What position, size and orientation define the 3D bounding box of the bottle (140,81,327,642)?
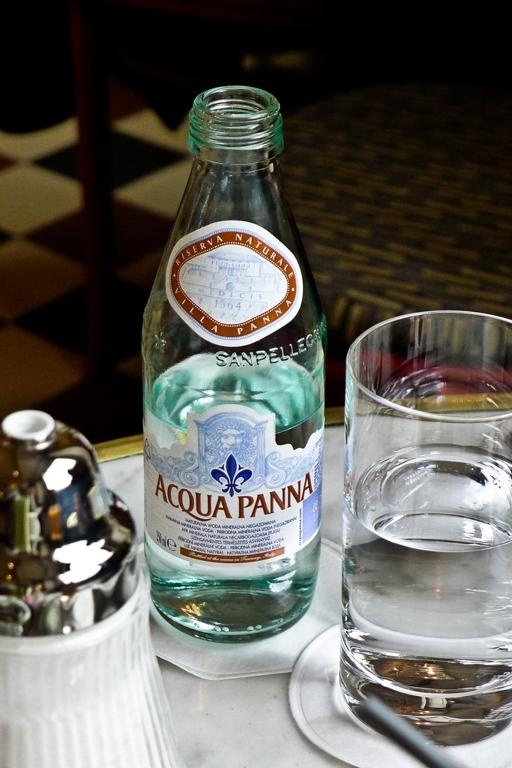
[{"bbox_3d":[-0.016,-0.001,0.362,0.098,0.264,0.104,-2,27,1],"label":"bottle"}]
